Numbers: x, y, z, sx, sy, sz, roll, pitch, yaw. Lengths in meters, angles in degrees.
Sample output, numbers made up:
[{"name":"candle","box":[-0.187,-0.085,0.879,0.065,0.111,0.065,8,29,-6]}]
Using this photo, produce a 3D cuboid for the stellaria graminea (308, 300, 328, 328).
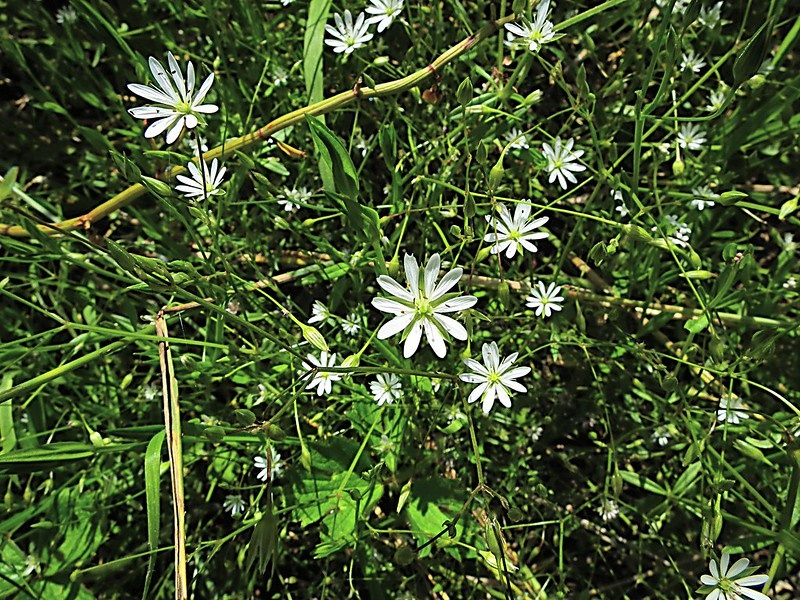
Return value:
[{"name":"stellaria graminea","box":[-0.325,0.062,2.784,0.048,0.086,0.104,10,56,-11]}]

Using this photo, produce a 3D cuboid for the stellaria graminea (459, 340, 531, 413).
[{"name":"stellaria graminea","box":[0.307,0.258,2.306,0.225,0.257,0.205,-33,84,-3]}]

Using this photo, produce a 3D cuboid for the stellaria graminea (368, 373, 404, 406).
[{"name":"stellaria graminea","box":[-0.053,0.343,2.630,0.122,0.110,0.120,-1,83,1]}]

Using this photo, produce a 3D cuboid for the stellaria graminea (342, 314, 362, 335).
[{"name":"stellaria graminea","box":[-0.204,0.102,2.852,0.084,0.082,0.080,-10,83,0]}]

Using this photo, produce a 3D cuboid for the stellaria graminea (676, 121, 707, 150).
[{"name":"stellaria graminea","box":[1.158,-0.651,2.759,0.112,0.051,0.132,-1,78,-20]}]
